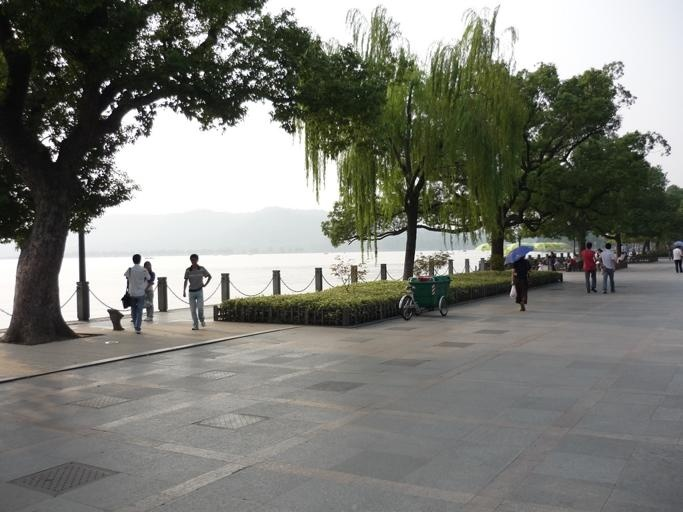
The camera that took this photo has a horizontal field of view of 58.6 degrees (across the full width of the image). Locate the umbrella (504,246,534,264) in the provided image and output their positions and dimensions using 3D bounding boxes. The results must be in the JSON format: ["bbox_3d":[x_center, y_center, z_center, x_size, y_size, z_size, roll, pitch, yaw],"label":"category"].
[{"bbox_3d":[5.642,0.105,19.058,0.698,0.264,0.726,-34,12,11],"label":"umbrella"}]

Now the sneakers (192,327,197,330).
[{"bbox_3d":[-3.821,1.880,15.836,0.137,0.067,0.181,-1,-4,-14],"label":"sneakers"}]

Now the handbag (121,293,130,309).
[{"bbox_3d":[-5.573,1.133,15.720,0.164,0.398,0.677,-1,-4,-21],"label":"handbag"}]

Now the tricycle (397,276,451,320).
[{"bbox_3d":[2.412,1.216,17.958,1.972,1.281,1.056,-2,0,-45],"label":"tricycle"}]

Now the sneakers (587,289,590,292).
[{"bbox_3d":[10.239,1.418,25.010,0.121,0.142,0.596,-3,-4,27],"label":"sneakers"}]
